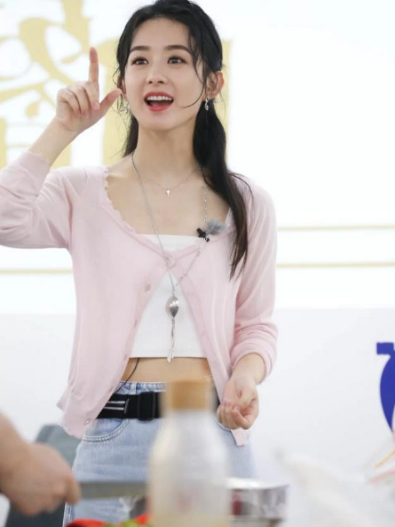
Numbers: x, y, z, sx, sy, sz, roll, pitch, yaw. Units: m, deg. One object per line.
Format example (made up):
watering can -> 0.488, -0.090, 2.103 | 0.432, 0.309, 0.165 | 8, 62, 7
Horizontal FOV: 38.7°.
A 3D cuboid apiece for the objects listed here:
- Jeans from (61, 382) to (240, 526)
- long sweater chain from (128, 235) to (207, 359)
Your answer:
Jeans -> -0.093, 0.333, 1.194 | 0.447, 0.343, 0.211 | 3, -18, -7
long sweater chain -> -0.063, 0.071, 1.171 | 0.262, 0.210, 0.061 | 5, -8, -30
